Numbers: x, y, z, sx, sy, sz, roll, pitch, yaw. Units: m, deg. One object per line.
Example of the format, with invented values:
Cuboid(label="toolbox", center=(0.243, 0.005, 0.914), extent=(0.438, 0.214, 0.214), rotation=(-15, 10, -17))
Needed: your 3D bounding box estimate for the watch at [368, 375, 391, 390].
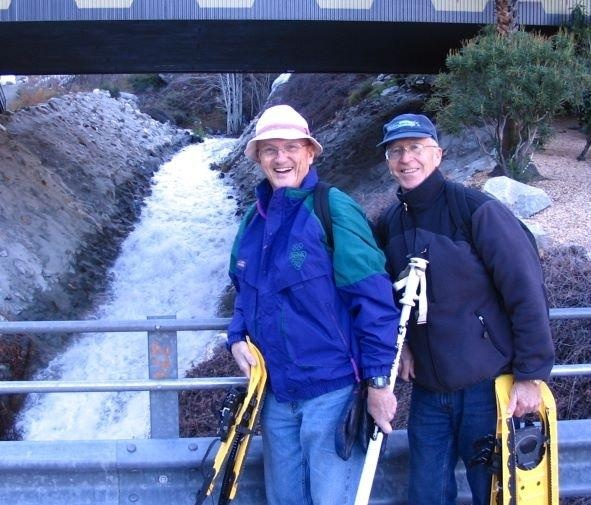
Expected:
Cuboid(label="watch", center=(0.452, 0.695, 3.265), extent=(0.100, 0.056, 0.093), rotation=(-3, -6, 10))

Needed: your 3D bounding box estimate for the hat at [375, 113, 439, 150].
Cuboid(label="hat", center=(0.697, -0.762, 3.764), extent=(0.299, 0.178, 0.392), rotation=(-8, 0, 31))

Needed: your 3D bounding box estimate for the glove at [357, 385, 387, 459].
Cuboid(label="glove", center=(0.396, 0.946, 3.426), extent=(0.083, 0.305, 0.228), rotation=(-5, -6, 42))

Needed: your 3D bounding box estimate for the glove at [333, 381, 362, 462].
Cuboid(label="glove", center=(0.308, 0.963, 3.388), extent=(0.134, 0.532, 0.101), rotation=(-7, 29, -16))
